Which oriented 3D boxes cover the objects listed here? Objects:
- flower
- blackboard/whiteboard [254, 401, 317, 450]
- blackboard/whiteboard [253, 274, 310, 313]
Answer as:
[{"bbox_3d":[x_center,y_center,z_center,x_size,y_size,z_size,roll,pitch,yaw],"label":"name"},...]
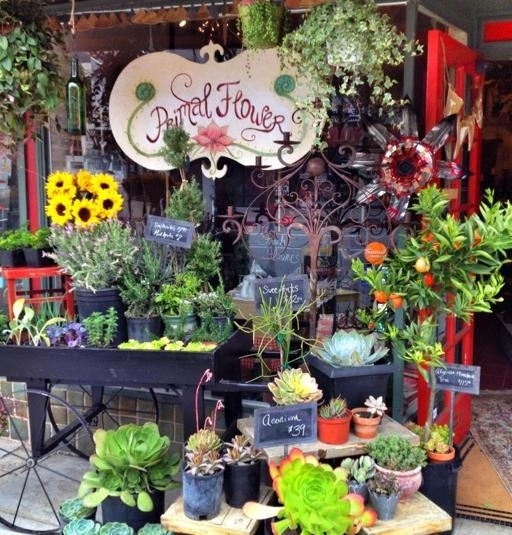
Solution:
[{"bbox_3d":[-0.819,-0.325,2.504,0.306,0.297,0.173,-12,7,-12],"label":"flower"},{"bbox_3d":[0.112,0.572,1.933,0.193,0.125,0.008,-7,10,-23],"label":"blackboard/whiteboard"},{"bbox_3d":[0.118,0.116,2.321,0.228,0.150,0.016,-3,0,-19],"label":"blackboard/whiteboard"}]
